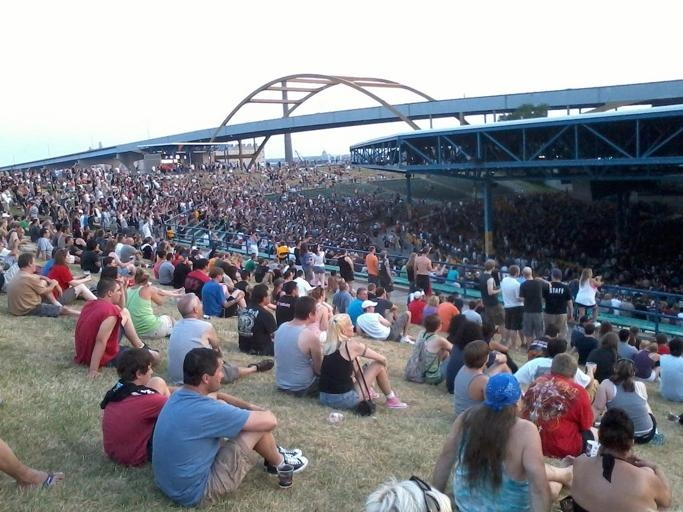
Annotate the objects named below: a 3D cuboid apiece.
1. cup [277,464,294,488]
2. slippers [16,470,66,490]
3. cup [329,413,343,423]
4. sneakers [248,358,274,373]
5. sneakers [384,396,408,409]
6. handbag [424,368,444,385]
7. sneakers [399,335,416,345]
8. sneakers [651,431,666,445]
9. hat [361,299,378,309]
[{"bbox_3d":[-0.630,2.314,5.523,0.198,0.225,0.202,2,21,-1],"label":"cup"},{"bbox_3d":[-3.092,2.246,5.197,0.336,0.093,0.127,2,15,-44],"label":"slippers"},{"bbox_3d":[-0.093,2.176,6.915,0.210,0.093,0.166,6,10,2],"label":"cup"},{"bbox_3d":[-1.330,1.787,8.371,0.447,0.176,0.199,-15,-27,-19],"label":"sneakers"},{"bbox_3d":[0.793,2.189,7.739,0.360,0.255,0.139,-1,3,-6],"label":"sneakers"},{"bbox_3d":[1.615,2.081,8.931,0.304,0.130,0.241,-24,30,-4],"label":"handbag"},{"bbox_3d":[1.477,1.893,11.654,0.428,0.205,0.154,-1,11,4],"label":"sneakers"},{"bbox_3d":[4.678,2.662,7.484,0.153,0.251,0.090,22,-15,16],"label":"sneakers"},{"bbox_3d":[0.603,1.086,11.657,0.233,0.101,0.172,-9,16,0],"label":"hat"}]
